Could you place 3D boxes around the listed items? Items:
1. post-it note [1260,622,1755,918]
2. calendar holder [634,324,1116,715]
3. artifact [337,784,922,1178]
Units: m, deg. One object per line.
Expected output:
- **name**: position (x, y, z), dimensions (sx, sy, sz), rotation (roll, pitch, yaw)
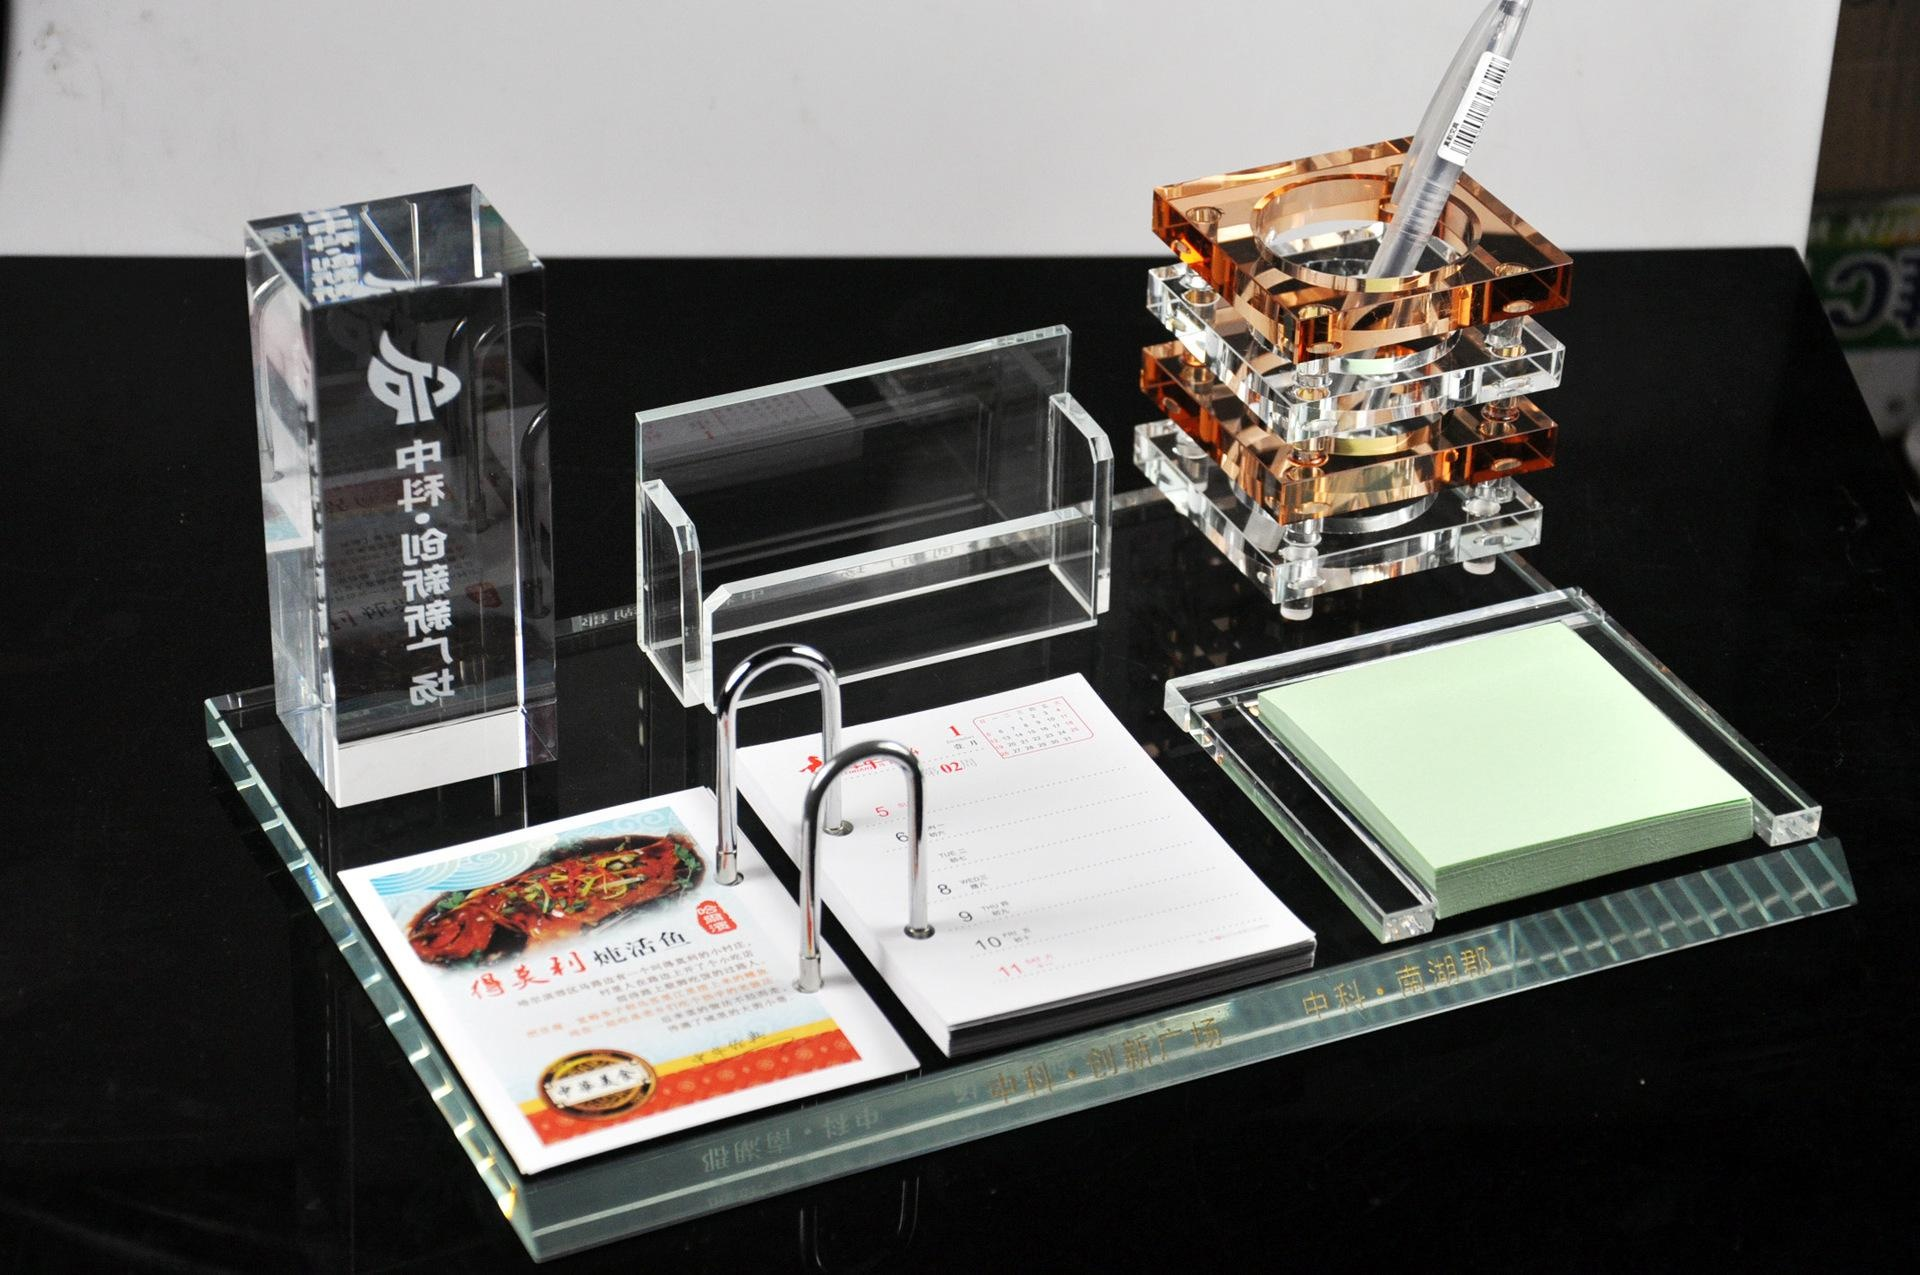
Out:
- **post-it note**: position (0.402, 0.039, 1.381), dimensions (0.232, 0.223, 0.047), rotation (-15, -50, -20)
- **calendar holder**: position (-0.063, -0.085, 1.557), dimensions (0.333, 0.110, 0.195), rotation (-15, -44, -15)
- **artifact**: position (-0.234, 0.226, 1.290), dimensions (0.296, 0.204, 0.196), rotation (-20, -9, -21)
